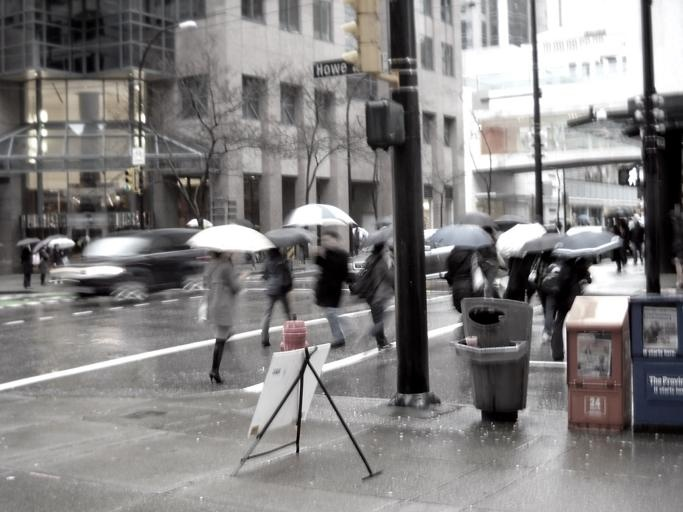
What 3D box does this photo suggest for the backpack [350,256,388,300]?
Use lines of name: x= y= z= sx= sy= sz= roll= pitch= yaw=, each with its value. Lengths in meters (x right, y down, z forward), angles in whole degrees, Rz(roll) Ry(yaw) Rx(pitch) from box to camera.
backpack: x=0.550 y=0.417 z=16.526 sx=0.275 sy=0.840 sz=0.567 roll=31 pitch=-5 yaw=-32

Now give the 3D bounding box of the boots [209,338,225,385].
boots: x=-1.999 y=1.647 z=14.382 sx=0.259 sy=0.695 sz=0.842 roll=-3 pitch=4 yaw=-9

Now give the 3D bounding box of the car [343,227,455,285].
car: x=2.233 y=0.104 z=29.652 sx=3.172 sy=1.357 sz=1.601 roll=0 pitch=2 yaw=-25

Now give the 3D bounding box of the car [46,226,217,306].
car: x=-6.077 y=0.305 z=26.689 sx=4.142 sy=1.975 sz=1.398 roll=-7 pitch=5 yaw=-40

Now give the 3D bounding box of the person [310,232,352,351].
person: x=-0.145 y=0.628 z=16.815 sx=0.697 sy=2.237 sz=0.842 roll=-3 pitch=3 yaw=0

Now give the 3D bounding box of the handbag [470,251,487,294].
handbag: x=2.318 y=0.293 z=15.191 sx=0.227 sy=0.719 sz=0.681 roll=-2 pitch=4 yaw=9

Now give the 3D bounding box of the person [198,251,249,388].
person: x=-1.903 y=0.942 z=14.447 sx=0.586 sy=2.074 sz=0.940 roll=-3 pitch=3 yaw=-10

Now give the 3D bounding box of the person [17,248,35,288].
person: x=-11.973 y=0.420 z=34.181 sx=0.369 sy=1.595 sz=1.616 roll=-4 pitch=4 yaw=-20

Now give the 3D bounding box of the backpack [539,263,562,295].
backpack: x=3.540 y=0.400 z=15.144 sx=0.369 sy=0.560 sz=0.263 roll=13 pitch=-3 yaw=-36
